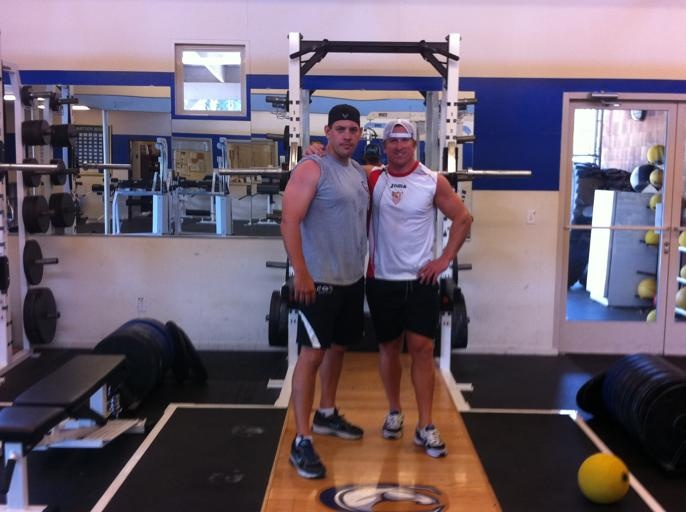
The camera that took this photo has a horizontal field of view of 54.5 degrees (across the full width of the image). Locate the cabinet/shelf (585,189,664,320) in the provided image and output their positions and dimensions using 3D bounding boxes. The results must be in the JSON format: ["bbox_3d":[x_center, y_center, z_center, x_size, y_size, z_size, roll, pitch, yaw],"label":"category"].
[{"bbox_3d":[2.488,-0.077,5.580,0.474,0.938,0.513,9,17,28],"label":"cabinet/shelf"}]

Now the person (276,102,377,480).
[{"bbox_3d":[-0.079,0.185,3.725,0.534,2.013,0.272,-9,12,-42],"label":"person"}]

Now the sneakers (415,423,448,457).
[{"bbox_3d":[0.506,1.070,3.886,0.098,0.125,0.247,1,-7,-19],"label":"sneakers"}]

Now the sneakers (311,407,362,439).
[{"bbox_3d":[-0.050,1.015,4.086,0.360,0.191,0.132,5,-2,5],"label":"sneakers"}]

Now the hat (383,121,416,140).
[{"bbox_3d":[0.317,-0.699,3.720,0.126,0.101,0.183,-1,4,4],"label":"hat"}]

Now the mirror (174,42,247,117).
[{"bbox_3d":[-1.053,-1.410,5.228,0.488,0.523,0.040,1,4,-1],"label":"mirror"}]

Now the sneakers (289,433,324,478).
[{"bbox_3d":[-0.219,1.111,3.717,0.111,0.144,0.269,1,-2,-30],"label":"sneakers"}]

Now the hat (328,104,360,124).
[{"bbox_3d":[0.011,-0.775,3.684,0.112,0.085,0.121,1,15,2],"label":"hat"}]

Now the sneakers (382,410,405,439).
[{"bbox_3d":[0.308,1.014,3.999,0.114,0.137,0.317,0,-8,5],"label":"sneakers"}]
